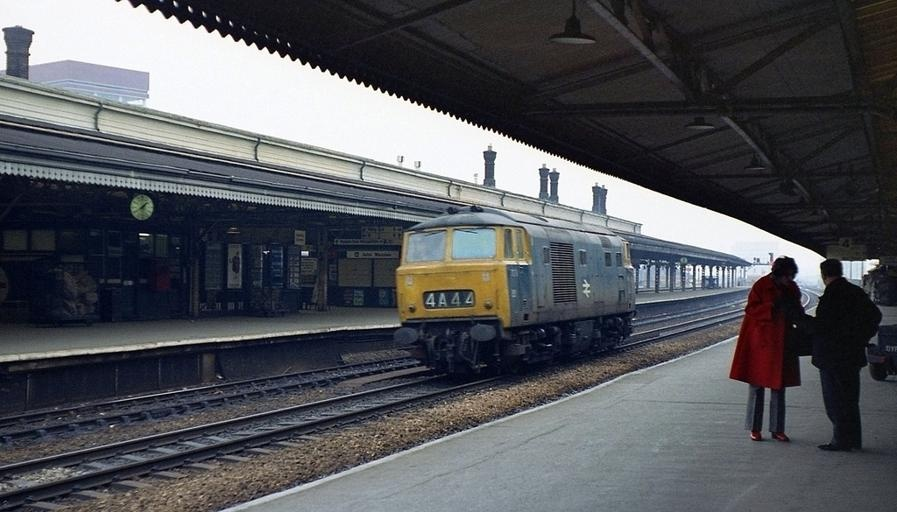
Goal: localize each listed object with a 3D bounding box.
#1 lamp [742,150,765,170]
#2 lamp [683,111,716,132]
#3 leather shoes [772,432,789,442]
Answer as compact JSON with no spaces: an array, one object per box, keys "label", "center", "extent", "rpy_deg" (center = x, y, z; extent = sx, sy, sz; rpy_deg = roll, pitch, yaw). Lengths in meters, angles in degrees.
[{"label":"lamp","center":[7.136,-2.246,16.094],"extent":[0.479,0.420,0.409],"rpy_deg":[-8,7,-12]},{"label":"lamp","center":[4.966,-2.580,13.629],"extent":[0.607,0.170,0.573],"rpy_deg":[0,2,6]},{"label":"leather shoes","center":[5.429,2.948,11.292],"extent":[0.107,0.105,0.259],"rpy_deg":[5,-10,-21]}]
